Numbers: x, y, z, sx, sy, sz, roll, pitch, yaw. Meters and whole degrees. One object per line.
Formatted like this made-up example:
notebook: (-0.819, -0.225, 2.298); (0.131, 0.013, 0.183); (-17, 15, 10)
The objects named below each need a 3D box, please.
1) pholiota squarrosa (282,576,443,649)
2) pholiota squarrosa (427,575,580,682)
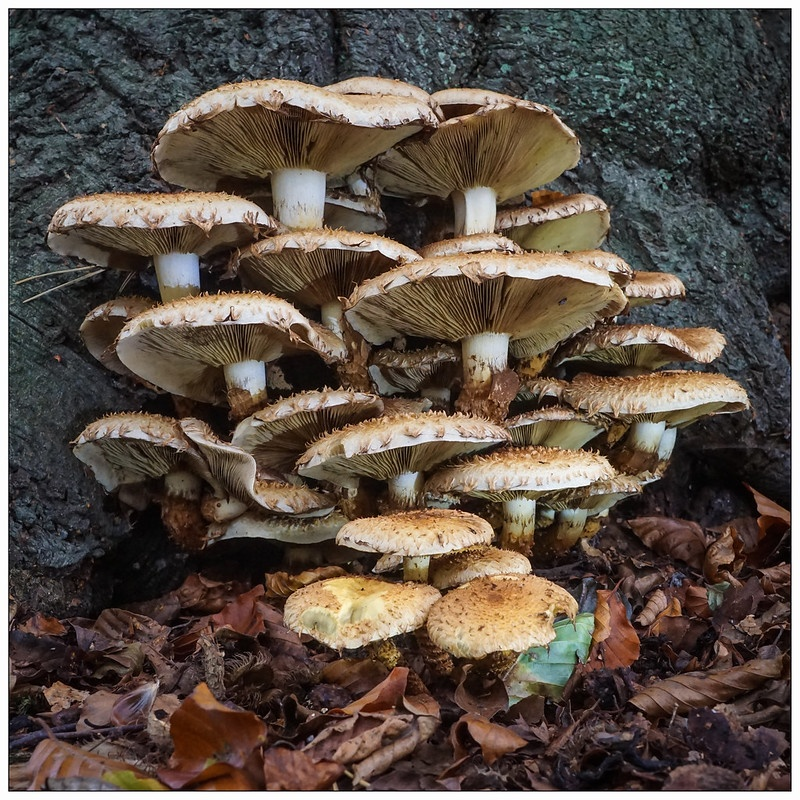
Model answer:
pholiota squarrosa: (-0.157, 0.833, 3.846); (0.522, 0.132, 0.477); (22, 35, 35)
pholiota squarrosa: (0.408, 0.830, 3.740); (0.489, 0.118, 0.560); (15, 31, 26)
